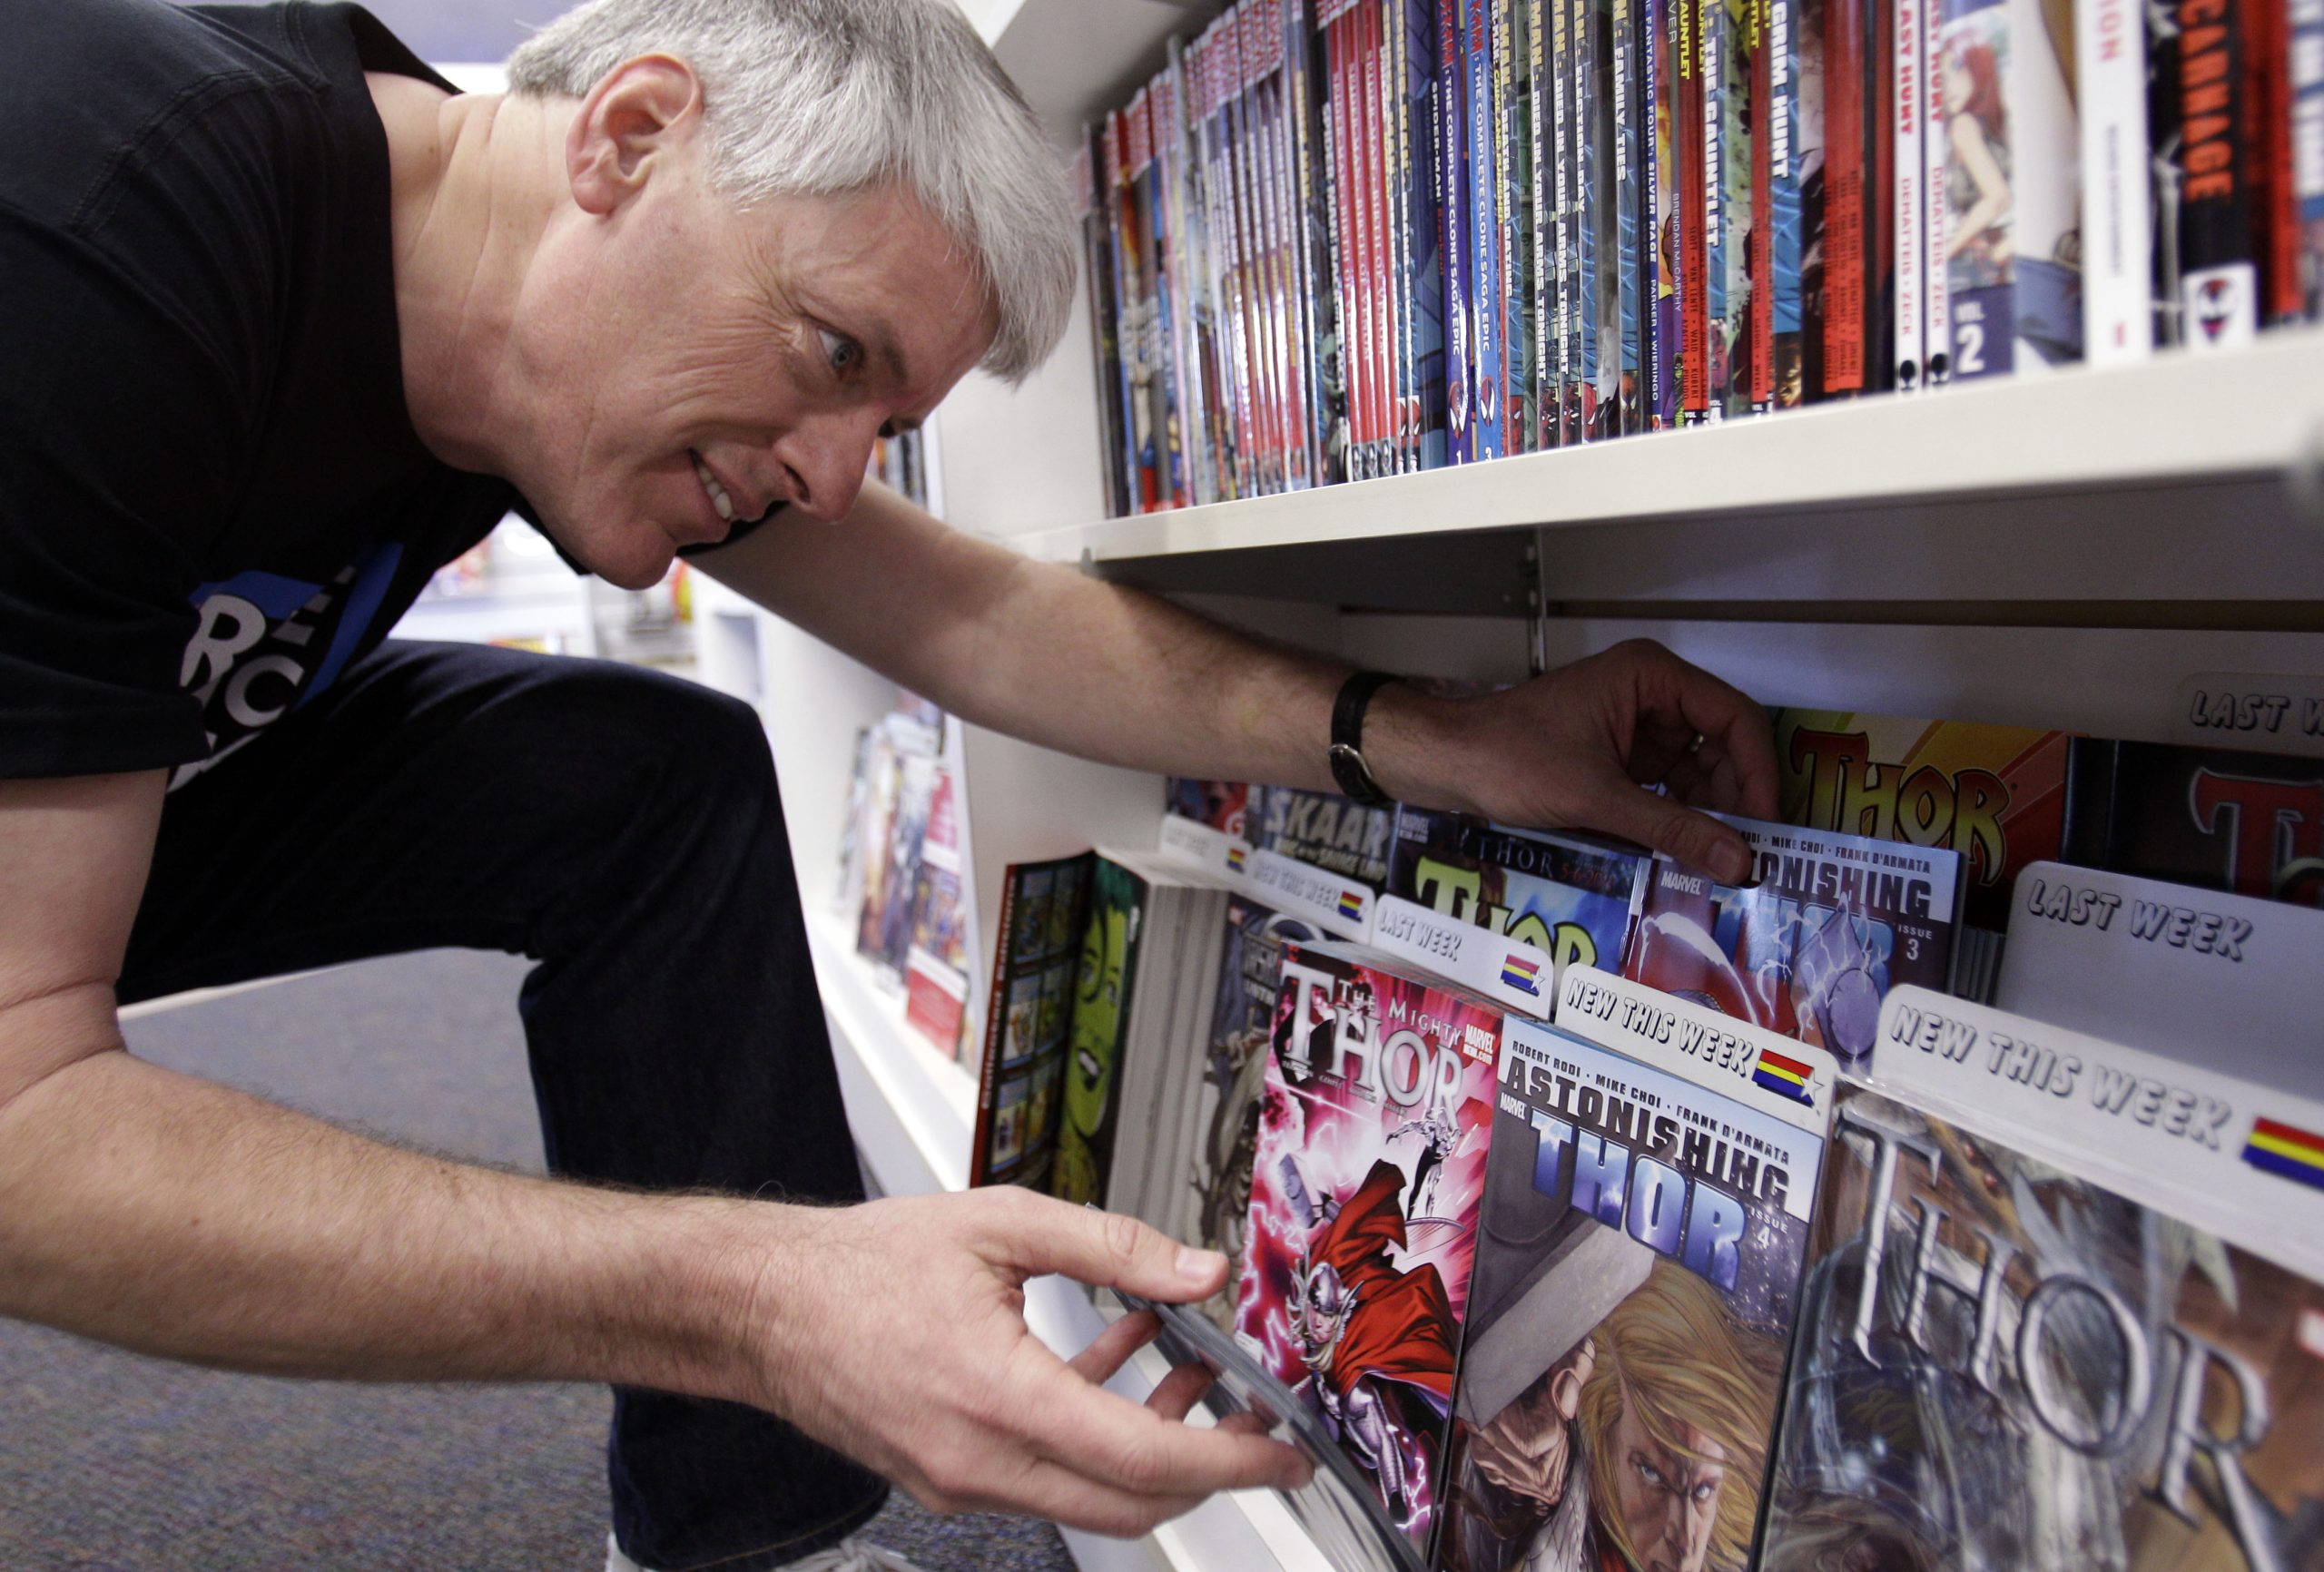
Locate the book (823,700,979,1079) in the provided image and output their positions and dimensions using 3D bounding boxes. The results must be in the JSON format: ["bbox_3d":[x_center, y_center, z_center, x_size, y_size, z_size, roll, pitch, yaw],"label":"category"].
[{"bbox_3d":[-0.384,0.164,2.303,0.092,0.302,0.557,-2,6,-18],"label":"book"}]
